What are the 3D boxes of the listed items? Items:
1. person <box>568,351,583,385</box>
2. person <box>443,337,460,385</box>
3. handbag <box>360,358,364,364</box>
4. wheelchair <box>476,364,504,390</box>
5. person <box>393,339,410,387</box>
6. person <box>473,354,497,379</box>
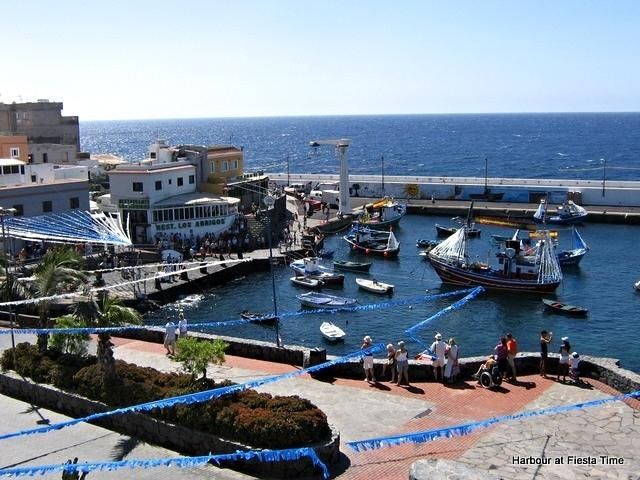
[{"bbox_3d":[10.538,5.257,26.412,0.436,1.062,0.938,5,15,20],"label":"person"},{"bbox_3d":[5.388,4.885,26.237,0.575,2.140,0.926,4,15,20],"label":"person"},{"bbox_3d":[1.783,5.132,27.117,0.169,0.198,0.123,9,2,19],"label":"handbag"},{"bbox_3d":[6.944,5.536,26.146,0.960,0.874,0.725,3,14,14],"label":"wheelchair"},{"bbox_3d":[3.414,4.950,26.532,0.590,2.032,1.271,1,14,6],"label":"person"},{"bbox_3d":[6.806,5.167,26.395,1.346,0.955,0.794,-5,-3,18],"label":"person"}]
